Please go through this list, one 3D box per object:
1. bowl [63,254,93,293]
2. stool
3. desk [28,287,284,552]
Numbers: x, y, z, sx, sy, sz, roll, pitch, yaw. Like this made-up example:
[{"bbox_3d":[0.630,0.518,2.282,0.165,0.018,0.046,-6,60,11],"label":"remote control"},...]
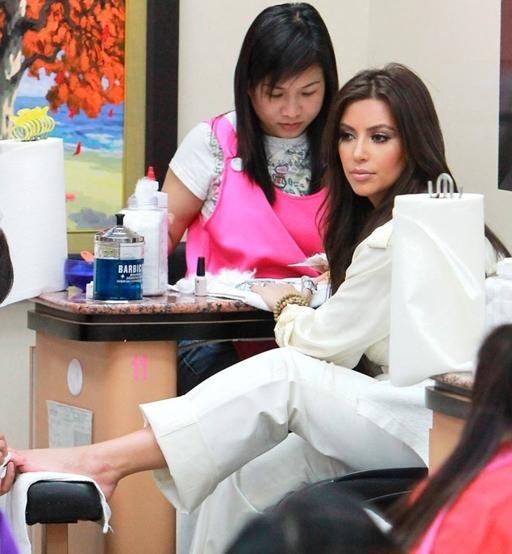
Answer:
[{"bbox_3d":[-0.379,-0.011,1.482,0.067,0.070,0.074,1,1,0],"label":"bowl"},{"bbox_3d":[-0.293,0.339,1.060,0.142,0.128,0.103,-4,8,-21],"label":"stool"},{"bbox_3d":[-0.187,0.192,1.590,0.634,0.569,0.483,-1,3,-27],"label":"desk"}]
